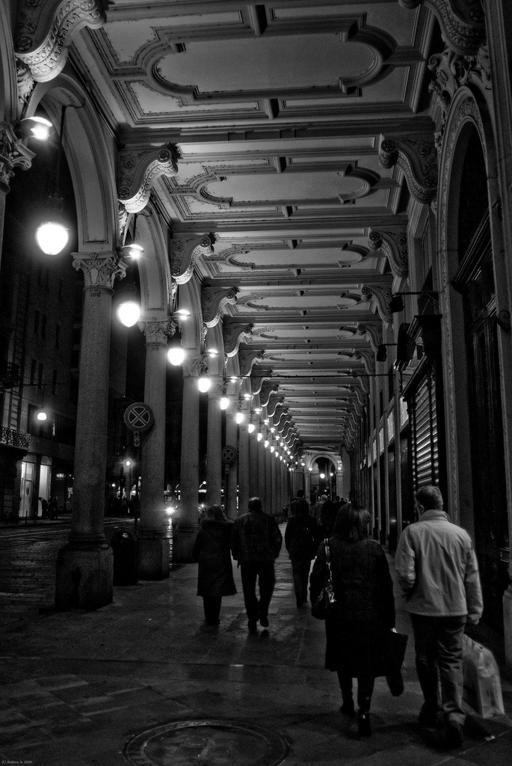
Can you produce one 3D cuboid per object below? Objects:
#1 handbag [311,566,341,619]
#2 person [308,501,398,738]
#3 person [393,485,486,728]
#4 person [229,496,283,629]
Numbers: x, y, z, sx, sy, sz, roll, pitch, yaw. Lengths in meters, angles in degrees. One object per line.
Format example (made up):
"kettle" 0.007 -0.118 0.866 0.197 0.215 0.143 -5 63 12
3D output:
"handbag" 0.451 1.255 3.945 0.181 0.458 0.433 4 -8 8
"person" 0.628 1.469 3.899 0.556 1.345 0.296 -3 -11 14
"person" 1.113 1.376 3.728 0.485 1.482 0.640 -7 -13 32
"person" 0.027 2.357 8.044 0.685 1.658 0.528 8 -14 -36
